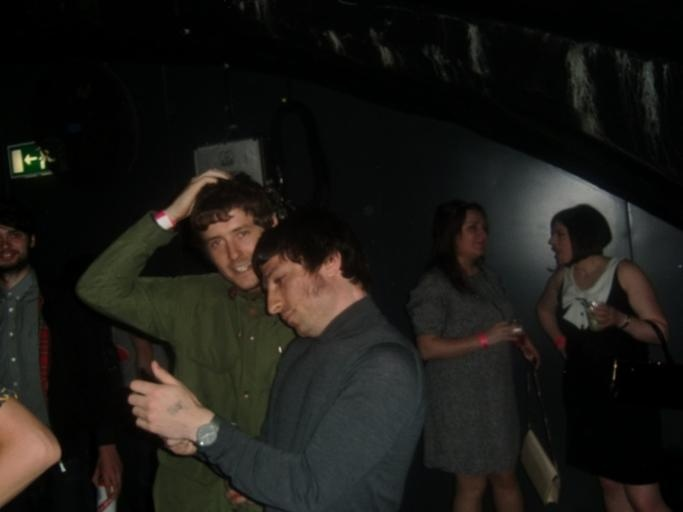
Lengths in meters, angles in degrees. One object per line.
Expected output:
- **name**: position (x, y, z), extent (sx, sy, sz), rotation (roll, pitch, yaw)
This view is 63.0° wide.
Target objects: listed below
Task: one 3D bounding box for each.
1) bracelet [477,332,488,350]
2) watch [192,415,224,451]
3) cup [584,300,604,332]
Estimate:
- **bracelet**: position (0.941, 0.572, 3.718), extent (0.074, 0.101, 0.035), rotation (-1, -2, -5)
- **watch**: position (-0.583, 0.771, 2.394), extent (0.081, 0.119, 0.033), rotation (21, -7, 3)
- **cup**: position (1.659, 0.403, 3.668), extent (0.088, 0.192, 0.190), rotation (-2, -2, 25)
